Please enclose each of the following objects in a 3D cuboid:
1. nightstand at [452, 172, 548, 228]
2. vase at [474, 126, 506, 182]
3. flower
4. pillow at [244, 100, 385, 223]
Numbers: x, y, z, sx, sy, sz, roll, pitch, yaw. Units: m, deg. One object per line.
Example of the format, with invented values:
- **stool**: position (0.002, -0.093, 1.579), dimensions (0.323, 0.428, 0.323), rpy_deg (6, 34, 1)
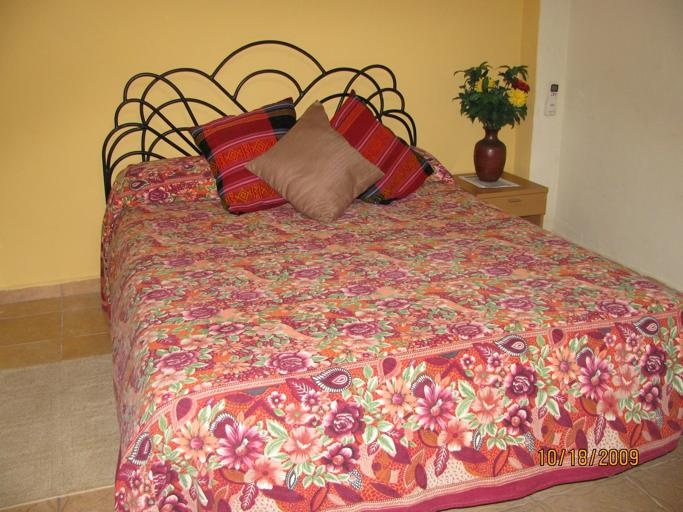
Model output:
- **nightstand**: position (1.165, -0.313, 3.795), dimensions (0.494, 0.346, 0.432), rpy_deg (-8, 19, -10)
- **vase**: position (1.044, -0.705, 3.665), dimensions (0.266, 0.343, 0.249), rpy_deg (9, 26, 29)
- **flower**: position (1.012, -1.037, 3.585), dimensions (0.526, 0.336, 0.437), rpy_deg (-5, 1, -3)
- **pillow**: position (-0.180, -0.457, 2.829), dimensions (0.618, 0.178, 0.602), rpy_deg (38, 63, 8)
